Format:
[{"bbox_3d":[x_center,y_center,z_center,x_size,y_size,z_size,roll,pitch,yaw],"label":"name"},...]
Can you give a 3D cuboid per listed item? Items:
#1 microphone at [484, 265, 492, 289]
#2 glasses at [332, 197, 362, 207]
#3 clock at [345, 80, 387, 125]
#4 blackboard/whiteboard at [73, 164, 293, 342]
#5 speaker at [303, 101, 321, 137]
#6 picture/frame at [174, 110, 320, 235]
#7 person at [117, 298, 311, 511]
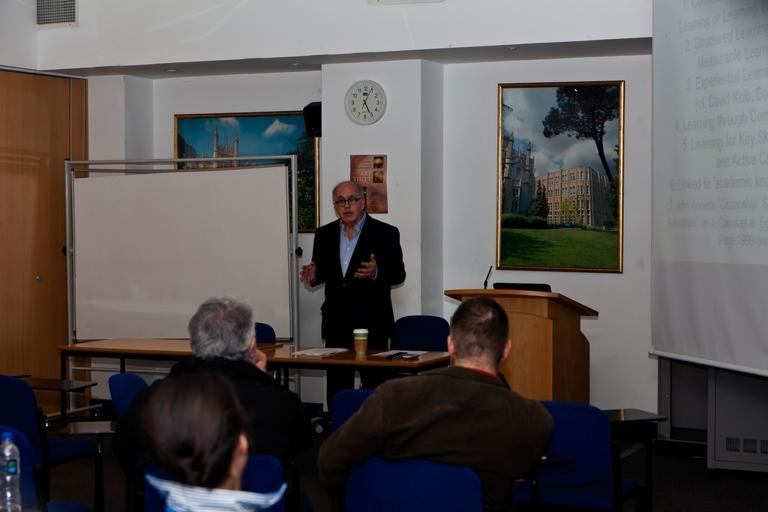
[{"bbox_3d":[1.067,0.213,6.380,0.055,0.218,0.076,16,13,19],"label":"microphone"},{"bbox_3d":[-0.364,-0.494,5.660,0.286,0.119,0.163,1,4,28],"label":"glasses"},{"bbox_3d":[-0.177,-1.590,6.410,0.434,0.476,0.077,0,-2,20],"label":"clock"},{"bbox_3d":[-1.957,-0.054,6.187,1.729,1.345,0.301,0,3,9],"label":"blackboard/whiteboard"},{"bbox_3d":[-0.771,-1.470,6.649,0.194,0.378,0.245,-2,3,-6],"label":"speaker"},{"bbox_3d":[-1.400,-0.855,6.565,1.292,1.052,0.052,-1,-3,9],"label":"picture/frame"},{"bbox_3d":[-0.685,0.738,3.261,0.843,1.286,0.894,0,-11,-5],"label":"person"}]
